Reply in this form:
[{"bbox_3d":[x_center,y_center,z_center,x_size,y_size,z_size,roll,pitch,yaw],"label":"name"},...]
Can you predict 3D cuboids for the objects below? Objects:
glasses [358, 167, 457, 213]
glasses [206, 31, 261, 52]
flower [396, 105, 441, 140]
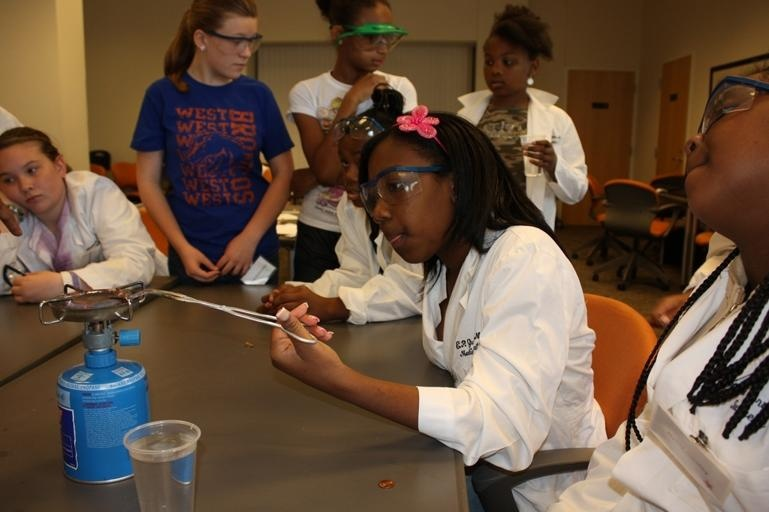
[{"bbox_3d":[0.044,-0.218,1.698,0.152,0.063,0.152,-21,-2,-42],"label":"glasses"},{"bbox_3d":[-0.593,-0.873,2.453,0.242,0.071,0.090,-10,17,-38],"label":"glasses"},{"bbox_3d":[0.102,-0.372,1.703,0.101,0.103,0.027,-4,-28,-6],"label":"flower"}]
